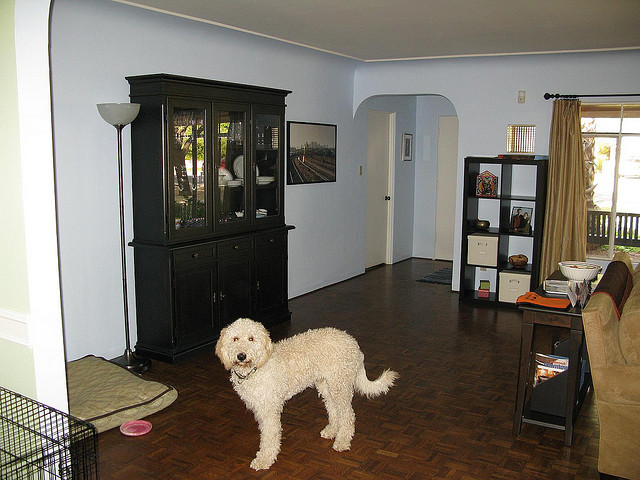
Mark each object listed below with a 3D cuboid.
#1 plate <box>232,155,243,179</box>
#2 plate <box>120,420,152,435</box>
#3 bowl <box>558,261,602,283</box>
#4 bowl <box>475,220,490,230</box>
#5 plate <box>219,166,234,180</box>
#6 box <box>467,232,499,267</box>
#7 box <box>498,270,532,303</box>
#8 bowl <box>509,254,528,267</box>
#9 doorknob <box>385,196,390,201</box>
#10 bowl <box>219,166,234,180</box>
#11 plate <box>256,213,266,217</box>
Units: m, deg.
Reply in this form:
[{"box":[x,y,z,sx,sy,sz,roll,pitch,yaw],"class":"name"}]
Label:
[{"box":[-0.915,-0.830,5.227,0.027,0.251,0.154,6,12,28],"class":"plate"},{"box":[-1.441,1.467,3.640,0.237,0.024,0.168,1,11,0],"class":"plate"},{"box":[2.040,0.240,3.712,0.207,0.096,0.212,1,7,0],"class":"bowl"},{"box":[2.368,-0.229,6.802,0.136,0.086,0.141,1,5,0],"class":"bowl"},{"box":[-1.023,-0.731,5.072,0.086,0.122,0.102,-4,-10,-10],"class":"plate"},{"box":[2.365,0.069,6.852,0.520,0.554,0.409,3,7,29],"class":"box"},{"box":[2.794,0.650,6.597,0.421,0.448,0.320,7,17,33],"class":"box"},{"box":[2.812,0.273,6.575,0.162,0.120,0.187,5,11,23],"class":"bowl"},{"box":[1.302,-0.811,8.894,0.042,0.112,0.124,7,11,38],"class":"doorknob"},{"box":[-1.017,-0.729,5.065,0.105,0.124,0.091,-12,7,29],"class":"bowl"},{"box":[-0.711,-0.307,5.558,0.025,0.047,0.153,6,12,28],"class":"plate"}]
